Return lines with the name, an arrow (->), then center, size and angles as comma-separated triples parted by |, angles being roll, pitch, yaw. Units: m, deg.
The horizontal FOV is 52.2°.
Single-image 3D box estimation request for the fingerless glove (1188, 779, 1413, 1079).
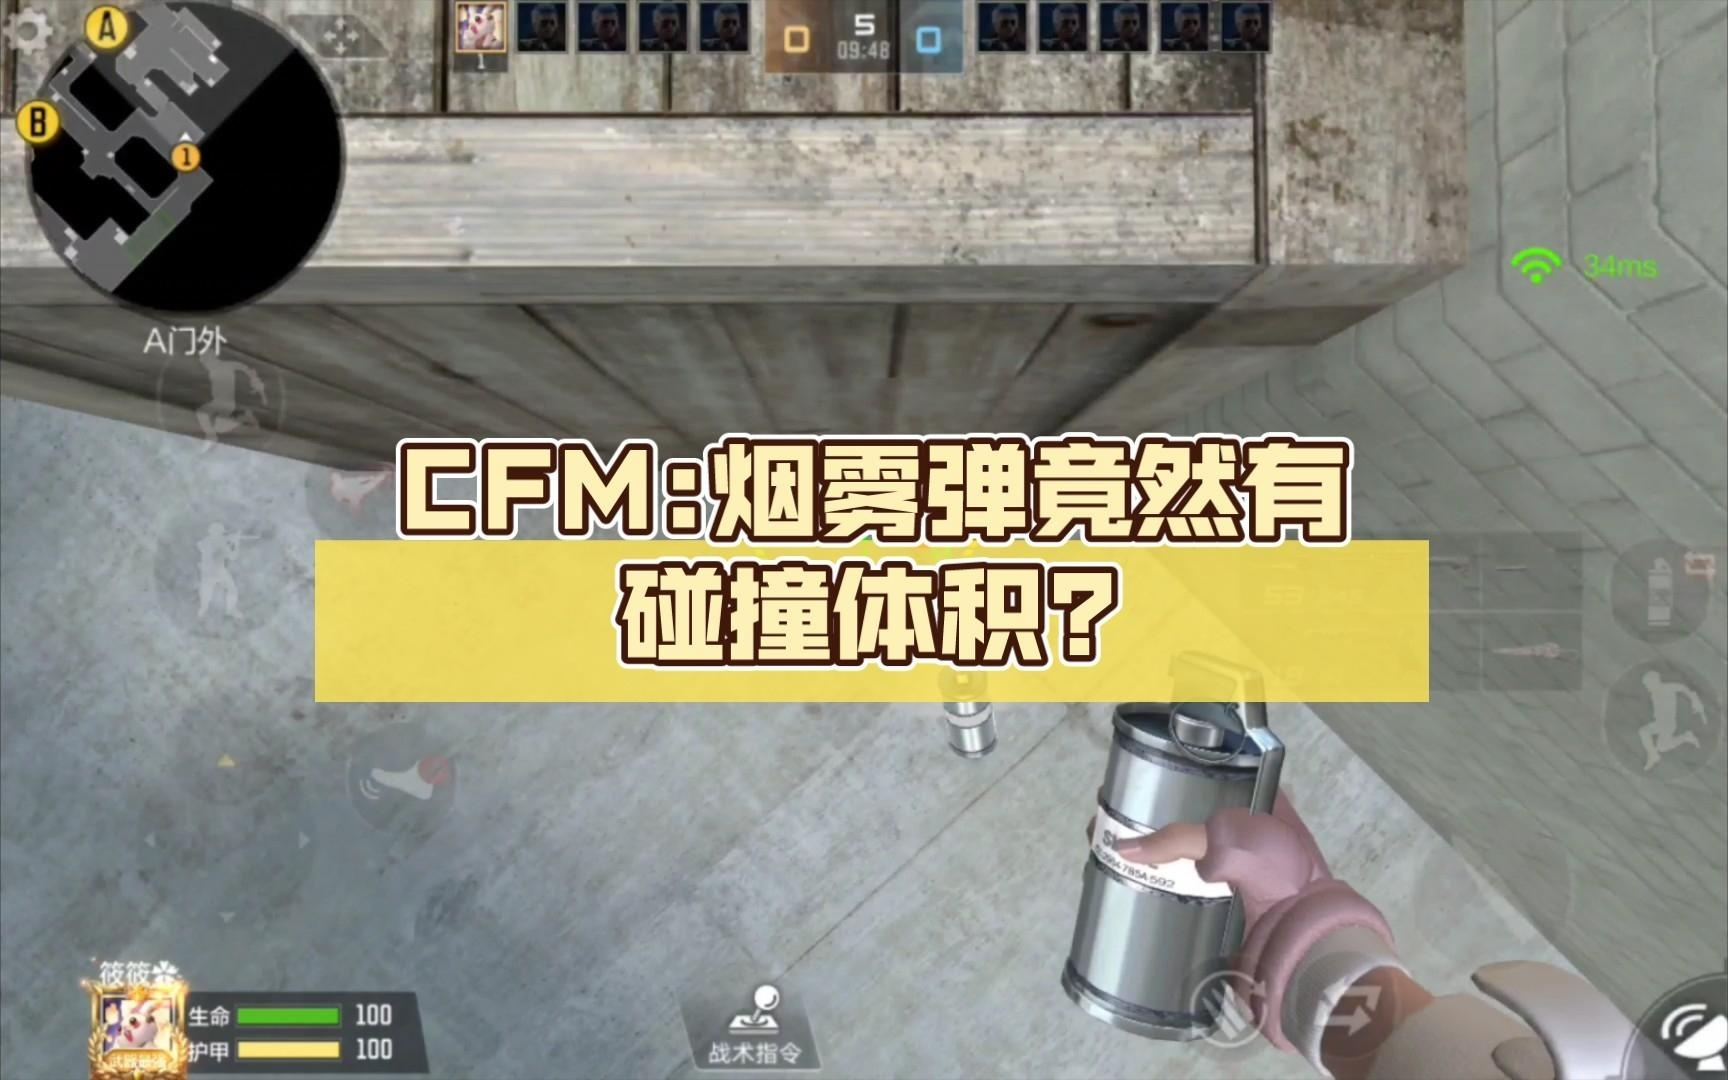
fingerless glove -> 0.897, 0.847, 3.712 | 0.253, 0.656, 0.196 | -11, -72, 16
